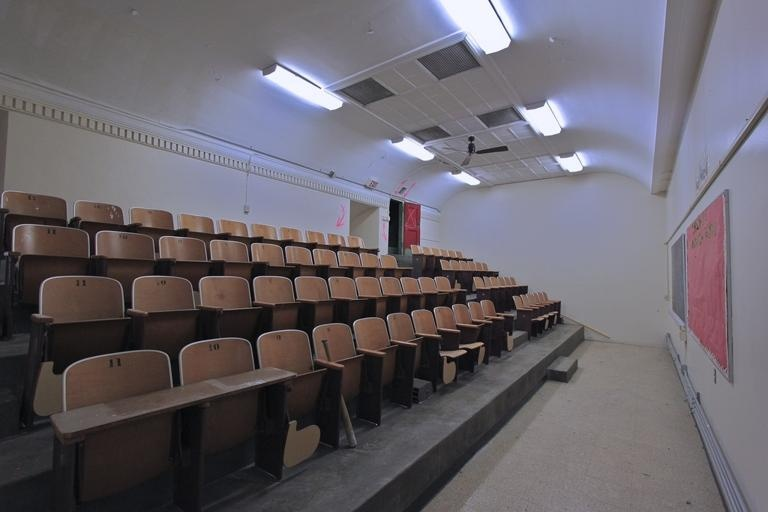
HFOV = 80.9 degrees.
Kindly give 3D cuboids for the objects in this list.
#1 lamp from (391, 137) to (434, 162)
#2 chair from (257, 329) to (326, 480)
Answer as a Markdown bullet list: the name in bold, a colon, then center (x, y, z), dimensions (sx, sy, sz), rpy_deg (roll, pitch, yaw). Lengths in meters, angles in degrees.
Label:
- **lamp**: center (0.551, -2.243, 9.337), dimensions (0.604, 0.185, 1.144), rpy_deg (-4, -4, 32)
- **chair**: center (-0.724, 1.134, 3.612), dimensions (0.503, 1.045, 0.482), rpy_deg (0, -3, -32)
